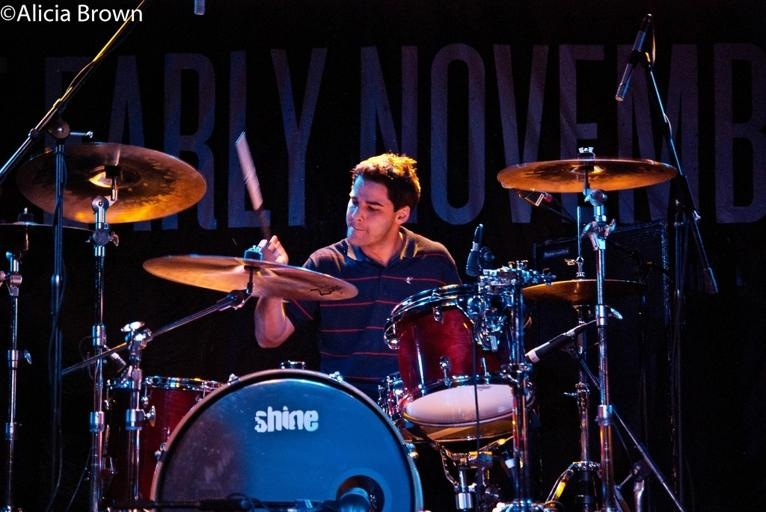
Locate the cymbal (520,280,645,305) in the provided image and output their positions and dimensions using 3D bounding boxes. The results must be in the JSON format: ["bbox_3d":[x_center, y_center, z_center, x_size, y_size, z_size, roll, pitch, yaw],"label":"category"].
[{"bbox_3d":[1.223,0.228,7.356,0.762,0.172,0.475,-1,1,-26],"label":"cymbal"}]

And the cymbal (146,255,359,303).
[{"bbox_3d":[-0.747,0.120,6.563,1.142,0.158,1.143,1,-2,37],"label":"cymbal"}]

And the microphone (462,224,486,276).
[{"bbox_3d":[0.550,-0.029,6.999,0.098,0.302,0.299,-1,1,4],"label":"microphone"}]

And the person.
[{"bbox_3d":[-0.093,0.228,7.506,1.480,1.794,1.080,-3,-23,10],"label":"person"}]

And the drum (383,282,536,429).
[{"bbox_3d":[0.374,0.645,7.129,0.858,0.602,0.829,-10,-39,-8],"label":"drum"}]

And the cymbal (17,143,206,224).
[{"bbox_3d":[-1.644,-0.453,7.141,0.745,0.140,0.701,2,-36,-16],"label":"cymbal"}]
